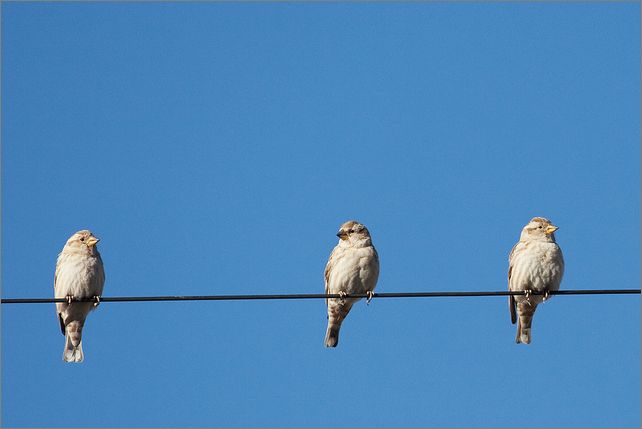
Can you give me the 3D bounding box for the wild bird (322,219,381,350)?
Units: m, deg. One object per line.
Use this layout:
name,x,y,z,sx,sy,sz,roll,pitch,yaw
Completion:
wild bird,0.291,1.464,21.078,0.658,1.017,2.471,6,-74,-21
